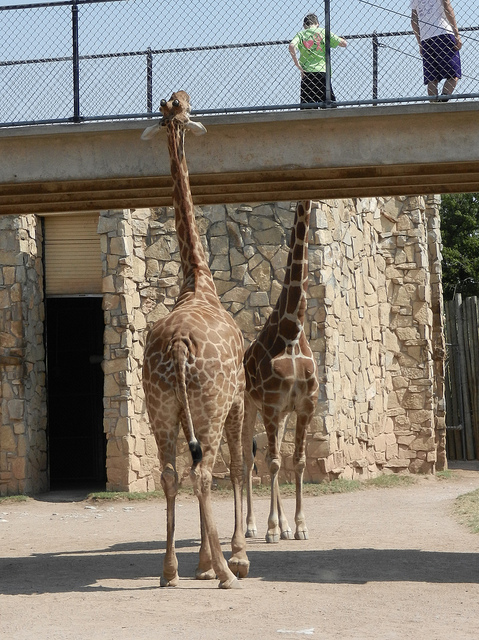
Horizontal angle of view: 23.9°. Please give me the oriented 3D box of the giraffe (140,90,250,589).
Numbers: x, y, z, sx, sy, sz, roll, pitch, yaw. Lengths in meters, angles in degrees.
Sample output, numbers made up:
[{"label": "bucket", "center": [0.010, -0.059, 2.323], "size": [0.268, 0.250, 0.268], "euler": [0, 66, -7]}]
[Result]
[{"label": "giraffe", "center": [-0.344, 0.044, 8.057], "size": [0.716, 3.655, 1.113], "euler": [-3, -5, 0]}]

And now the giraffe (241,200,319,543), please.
[{"label": "giraffe", "center": [0.344, 0.423, 10.058], "size": [0.713, 3.045, 0.729], "euler": [-3, -5, 4]}]

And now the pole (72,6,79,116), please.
[{"label": "pole", "center": [-1.347, -2.163, 9.388], "size": [0.060, 0.980, 0.153], "euler": [-2, -5, -8]}]
